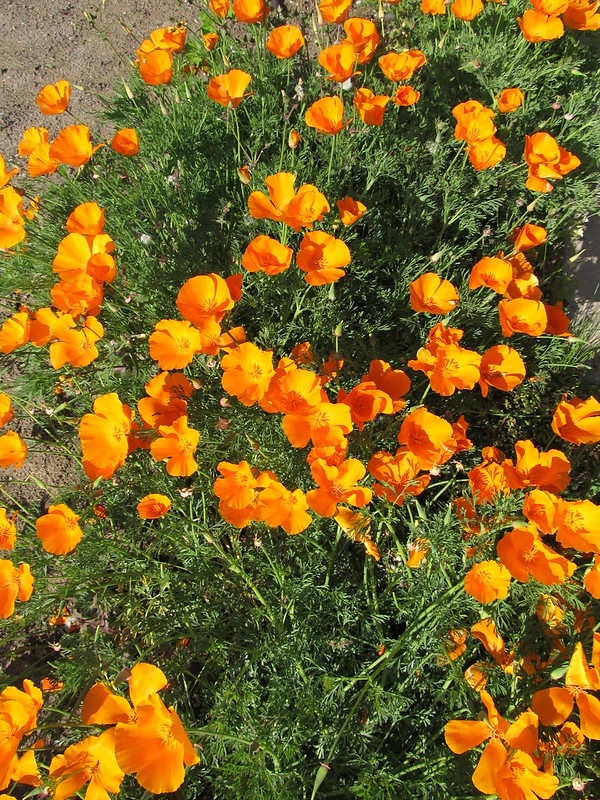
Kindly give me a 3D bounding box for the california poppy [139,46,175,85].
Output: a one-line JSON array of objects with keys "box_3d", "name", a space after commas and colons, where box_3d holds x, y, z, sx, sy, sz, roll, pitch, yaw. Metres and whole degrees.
[{"box_3d": [-0.513, -1.180, 2.468, 0.123, 0.081, 0.122, -16, 95, -2], "name": "california poppy"}]
